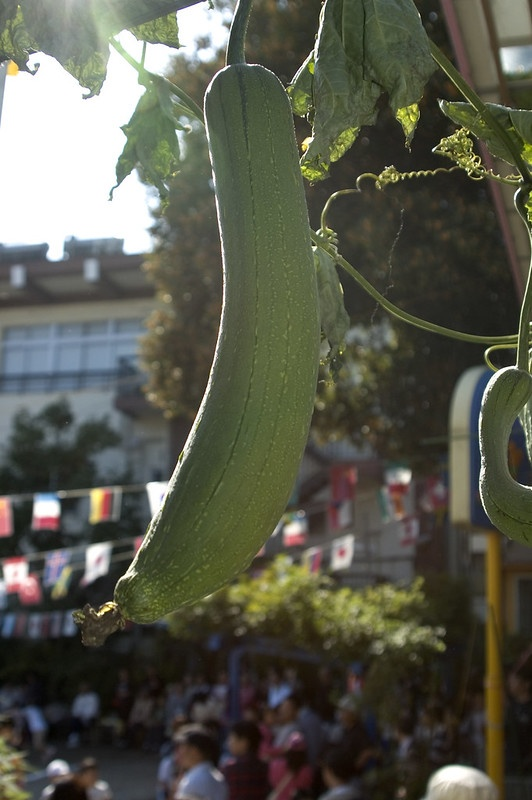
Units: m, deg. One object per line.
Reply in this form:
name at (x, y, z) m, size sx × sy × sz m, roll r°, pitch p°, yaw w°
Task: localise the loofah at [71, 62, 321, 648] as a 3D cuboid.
loofah at (-0.051, -0.035, 0.641) m, size 0.156 × 0.386 × 0.100 m, roll 15°, pitch -6°, yaw -12°
